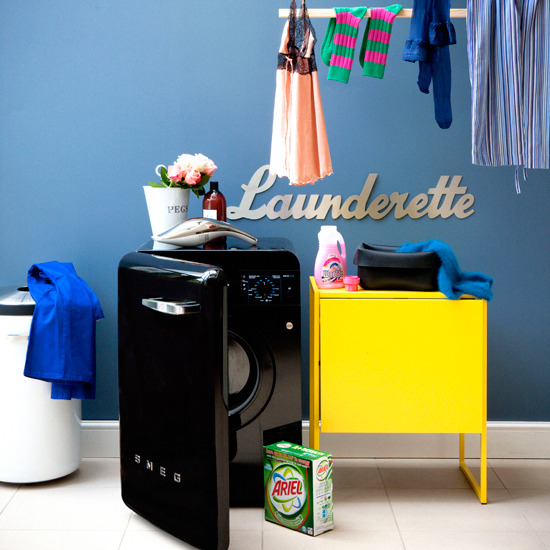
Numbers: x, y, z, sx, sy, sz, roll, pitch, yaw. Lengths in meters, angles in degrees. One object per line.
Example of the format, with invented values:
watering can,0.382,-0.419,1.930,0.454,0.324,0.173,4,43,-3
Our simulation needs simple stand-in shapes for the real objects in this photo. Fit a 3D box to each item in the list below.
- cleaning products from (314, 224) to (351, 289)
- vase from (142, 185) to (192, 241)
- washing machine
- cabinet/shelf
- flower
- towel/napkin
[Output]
cleaning products,0.241,-0.045,2.667,0.125,0.278,0.094,-2,-23,7
vase,-0.450,-0.283,2.781,0.176,0.236,0.203,7,17,8
washing machine,-0.248,0.388,2.578,0.597,1.292,0.997,0,6,-2
cabinet/shelf,0.500,0.371,2.916,0.864,1.434,0.691,0,1,1
flower,-0.350,-0.405,2.742,0.273,0.184,0.228,-9,6,22
towel/napkin,-0.888,0.230,2.754,0.265,0.636,0.274,-15,-17,24
